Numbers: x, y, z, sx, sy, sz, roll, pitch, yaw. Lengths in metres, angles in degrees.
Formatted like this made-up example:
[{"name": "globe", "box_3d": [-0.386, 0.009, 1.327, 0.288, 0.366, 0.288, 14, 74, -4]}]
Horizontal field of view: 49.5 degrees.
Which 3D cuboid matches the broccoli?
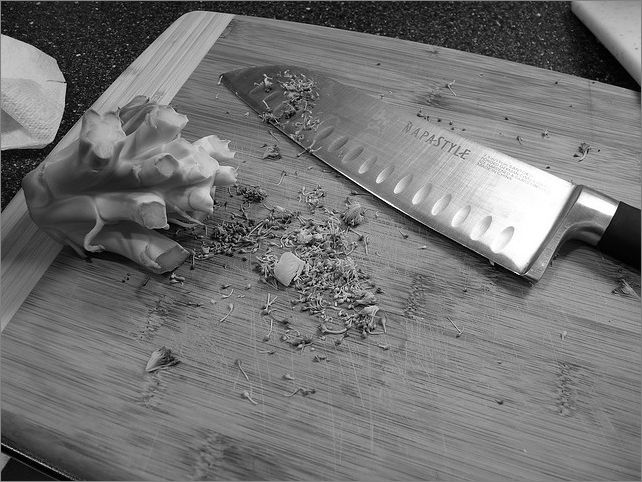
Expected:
[{"name": "broccoli", "box_3d": [-0.389, -0.104, 1.417, 0.489, 0.281, 0.328, -5, 48, 1]}]
